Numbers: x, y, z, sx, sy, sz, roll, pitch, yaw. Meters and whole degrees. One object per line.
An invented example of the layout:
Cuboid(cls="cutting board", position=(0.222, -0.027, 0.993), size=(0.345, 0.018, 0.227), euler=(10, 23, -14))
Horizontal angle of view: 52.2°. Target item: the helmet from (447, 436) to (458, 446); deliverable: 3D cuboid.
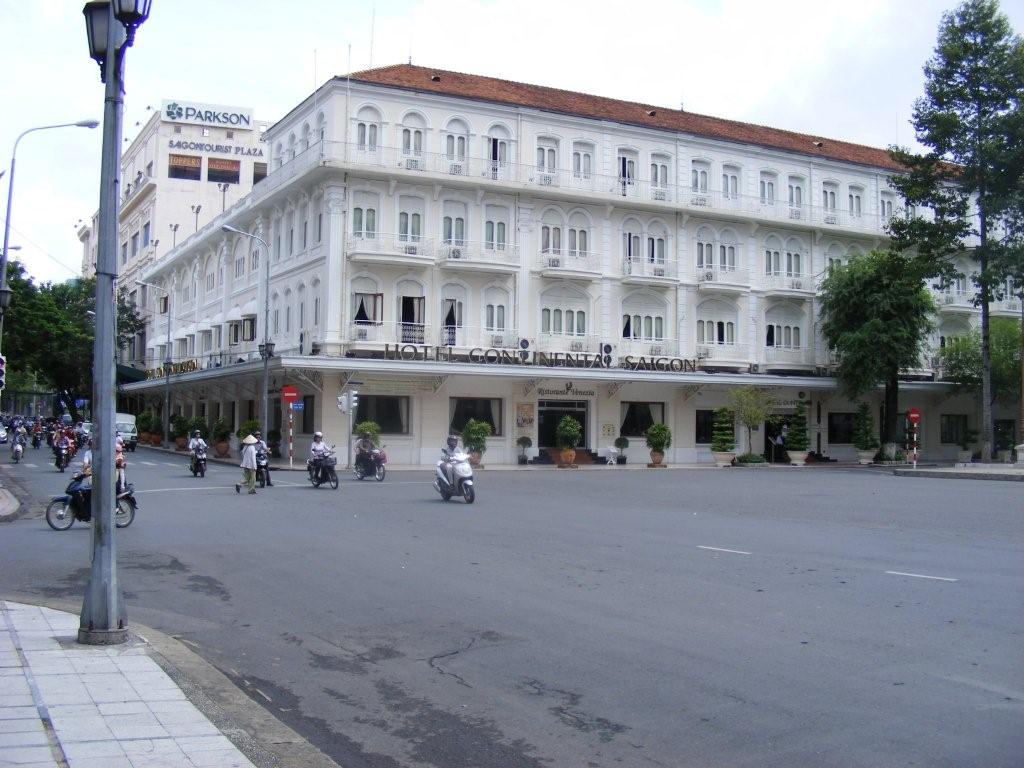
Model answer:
Cuboid(cls="helmet", position=(-1.447, 1.421, 25.703), size=(0.187, 0.257, 0.243), euler=(2, -8, -16))

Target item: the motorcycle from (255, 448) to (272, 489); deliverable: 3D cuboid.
Cuboid(cls="motorcycle", position=(-7.194, 2.400, 30.311), size=(0.570, 0.722, 1.109), euler=(0, 3, -6))

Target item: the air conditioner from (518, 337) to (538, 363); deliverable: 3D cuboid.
Cuboid(cls="air conditioner", position=(0.749, -1.529, 47.887), size=(0.553, 1.113, 1.338), euler=(1, 1, 27))

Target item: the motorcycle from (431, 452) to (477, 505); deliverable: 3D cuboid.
Cuboid(cls="motorcycle", position=(-1.407, 2.324, 25.973), size=(0.709, 1.299, 1.731), euler=(0, 1, -20))

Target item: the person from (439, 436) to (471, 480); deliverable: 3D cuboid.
Cuboid(cls="person", position=(-1.385, 1.871, 26.127), size=(0.590, 0.713, 1.182), euler=(0, -5, -12))

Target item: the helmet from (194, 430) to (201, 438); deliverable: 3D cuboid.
Cuboid(cls="helmet", position=(-13.719, 2.183, 45.553), size=(0.374, 0.249, 0.394), euler=(0, -6, 2))

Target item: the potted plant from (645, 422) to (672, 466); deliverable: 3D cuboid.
Cuboid(cls="potted plant", position=(6.754, 2.832, 48.083), size=(1.010, 1.914, 2.903), euler=(0, 1, 8))

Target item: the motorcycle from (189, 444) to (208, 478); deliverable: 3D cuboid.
Cuboid(cls="motorcycle", position=(-9.949, 2.505, 33.651), size=(0.494, 0.782, 1.277), euler=(1, -5, -26))

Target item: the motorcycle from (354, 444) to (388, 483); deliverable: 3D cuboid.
Cuboid(cls="motorcycle", position=(-4.724, 2.689, 34.779), size=(0.717, 0.923, 1.470), euler=(2, -7, -32))

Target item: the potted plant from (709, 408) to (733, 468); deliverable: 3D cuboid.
Cuboid(cls="potted plant", position=(9.937, 2.485, 49.062), size=(0.788, 2.617, 1.382), euler=(1, 2, 34))

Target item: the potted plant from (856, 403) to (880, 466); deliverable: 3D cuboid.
Cuboid(cls="potted plant", position=(18.351, 2.547, 53.872), size=(1.134, 3.102, 3.905), euler=(1, 1, 19))

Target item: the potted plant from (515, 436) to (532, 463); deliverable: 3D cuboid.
Cuboid(cls="potted plant", position=(0.580, 2.972, 47.033), size=(0.592, 1.215, 1.585), euler=(0, 1, 1))

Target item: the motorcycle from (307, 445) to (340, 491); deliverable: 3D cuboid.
Cuboid(cls="motorcycle", position=(-5.404, 2.381, 30.154), size=(1.018, 1.265, 0.501), euler=(1, 2, 32))

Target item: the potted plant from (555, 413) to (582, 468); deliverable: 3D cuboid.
Cuboid(cls="potted plant", position=(2.433, 2.524, 45.592), size=(0.870, 2.216, 1.501), euler=(0, 2, 0))
